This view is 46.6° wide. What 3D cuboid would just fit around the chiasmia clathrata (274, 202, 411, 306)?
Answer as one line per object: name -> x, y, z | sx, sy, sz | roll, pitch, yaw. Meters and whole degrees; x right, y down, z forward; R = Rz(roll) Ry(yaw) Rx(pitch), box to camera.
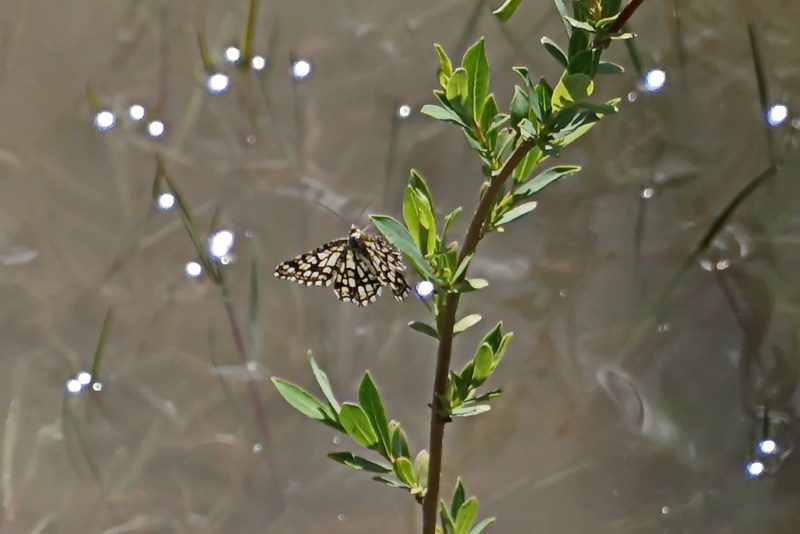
chiasmia clathrata -> -0.077, -0.023, 1.400 | 0.178, 0.058, 0.118 | 3, 102, 20
